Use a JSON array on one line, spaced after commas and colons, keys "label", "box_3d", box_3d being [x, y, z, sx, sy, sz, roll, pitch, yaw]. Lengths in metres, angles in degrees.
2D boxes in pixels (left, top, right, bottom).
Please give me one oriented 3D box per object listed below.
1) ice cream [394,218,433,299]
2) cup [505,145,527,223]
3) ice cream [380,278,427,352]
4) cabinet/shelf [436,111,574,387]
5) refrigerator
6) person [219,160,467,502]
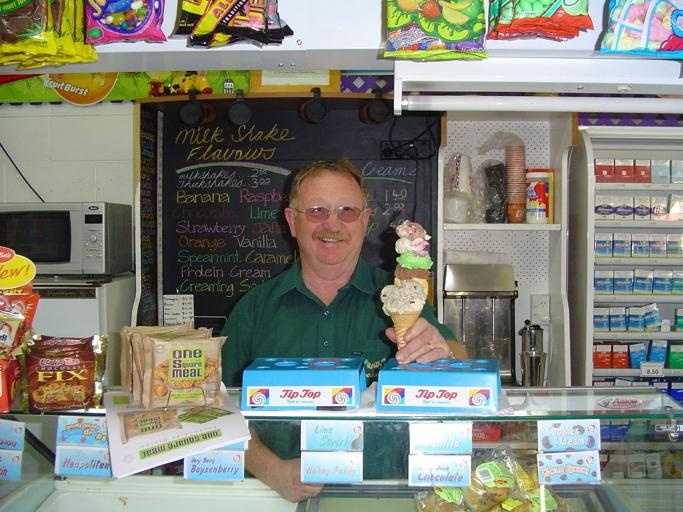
[{"label": "ice cream", "box_3d": [0.208, -0.006, 1.807, 0.114, 0.259, 0.123, 4, -2, 11]}, {"label": "cup", "box_3d": [1.041, -0.428, 3.642, 0.120, 0.379, 0.077, -1, -1, 17]}, {"label": "ice cream", "box_3d": [0.183, 0.163, 1.754, 0.112, 0.204, 0.108, 6, 0, 31]}, {"label": "cabinet/shelf", "box_3d": [1.052, -0.131, 3.843, 0.795, 1.747, 0.510, 1, -1, 5]}, {"label": "refrigerator", "box_3d": [-1.388, 0.296, 3.762, 0.694, 0.917, 0.623, 0, 3, 5]}, {"label": "person", "box_3d": [-0.072, 0.164, 2.097, 0.684, 1.213, 0.666, 0, 0, 9]}]
